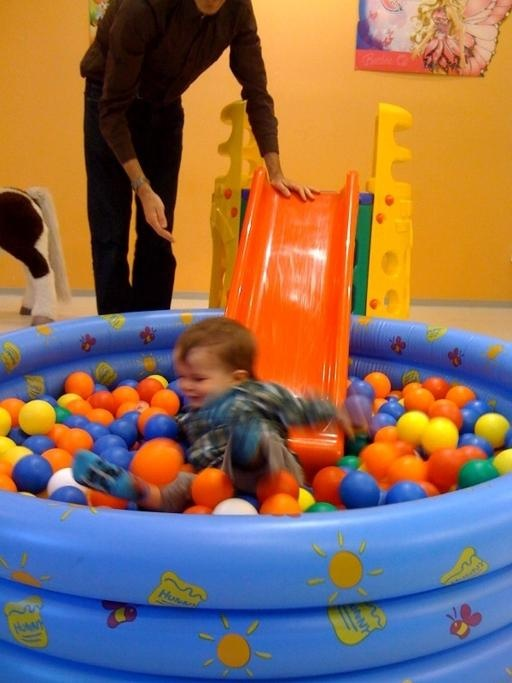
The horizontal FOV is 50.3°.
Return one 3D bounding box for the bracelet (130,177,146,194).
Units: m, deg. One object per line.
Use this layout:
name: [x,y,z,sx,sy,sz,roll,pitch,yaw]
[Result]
bracelet: [-0.349,-0.454,1.588,0.053,0.036,0.048,-15,-16,-22]
